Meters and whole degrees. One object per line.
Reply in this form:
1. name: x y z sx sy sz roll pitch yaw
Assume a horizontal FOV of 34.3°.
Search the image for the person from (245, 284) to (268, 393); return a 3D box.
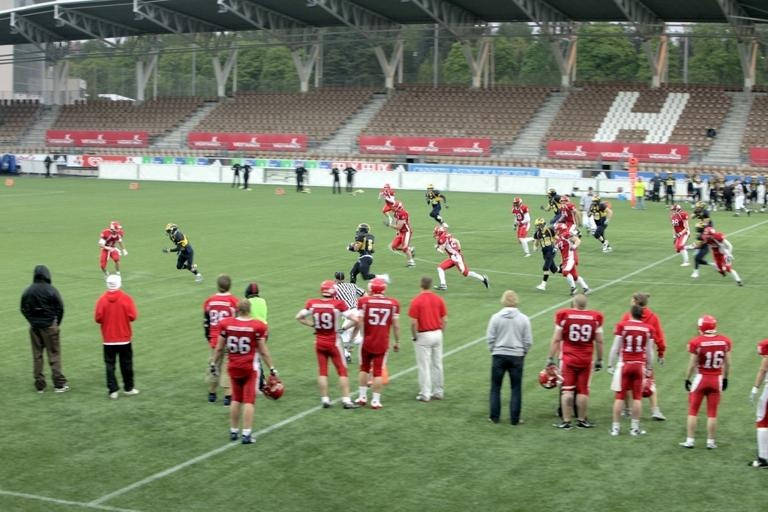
1. person: -4.467 2.922 46.738 1.493 3.516 1.086 1 -2 -11
